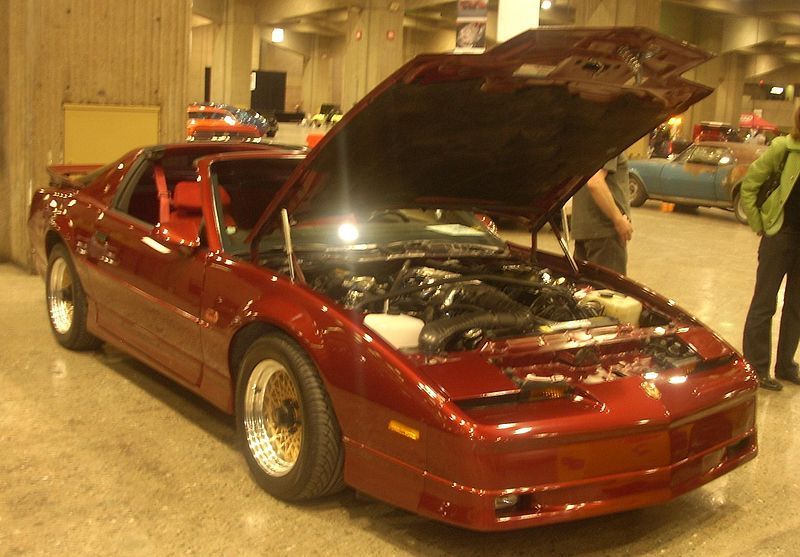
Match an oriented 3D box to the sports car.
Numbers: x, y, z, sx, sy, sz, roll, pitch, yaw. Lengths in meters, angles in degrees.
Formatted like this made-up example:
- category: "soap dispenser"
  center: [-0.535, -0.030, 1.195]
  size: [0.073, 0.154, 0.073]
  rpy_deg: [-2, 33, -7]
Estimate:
- category: "sports car"
  center: [-0.486, -0.240, 4.395]
  size: [2.485, 2.060, 4.940]
  rpy_deg: [-9, 18, -37]
